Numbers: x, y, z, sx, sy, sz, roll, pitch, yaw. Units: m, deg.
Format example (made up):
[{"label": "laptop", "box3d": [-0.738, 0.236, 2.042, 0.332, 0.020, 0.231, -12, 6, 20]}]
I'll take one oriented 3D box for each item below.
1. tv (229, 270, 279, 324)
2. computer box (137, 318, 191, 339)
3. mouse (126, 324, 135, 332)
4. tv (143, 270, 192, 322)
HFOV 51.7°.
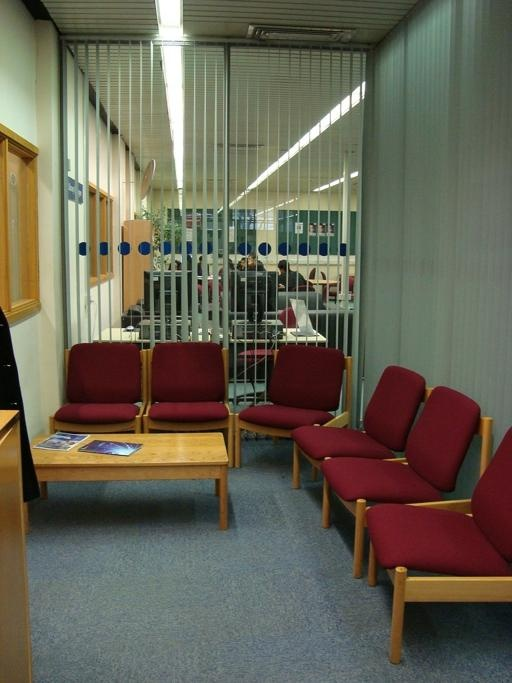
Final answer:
[{"label": "tv", "box3d": [-0.014, -0.428, 4.691, 0.471, 0.731, 0.343, 0, 12, 0]}, {"label": "computer box", "box3d": [-0.793, -0.100, 4.569, 0.424, 0.198, 0.180, 0, 3, -8]}, {"label": "mouse", "box3d": [-1.089, -0.109, 4.558, 0.084, 0.053, 0.018, 1, 3, 18]}, {"label": "tv", "box3d": [-0.766, -0.387, 4.464, 0.359, 0.460, 0.038, -3, 16, -20]}]
